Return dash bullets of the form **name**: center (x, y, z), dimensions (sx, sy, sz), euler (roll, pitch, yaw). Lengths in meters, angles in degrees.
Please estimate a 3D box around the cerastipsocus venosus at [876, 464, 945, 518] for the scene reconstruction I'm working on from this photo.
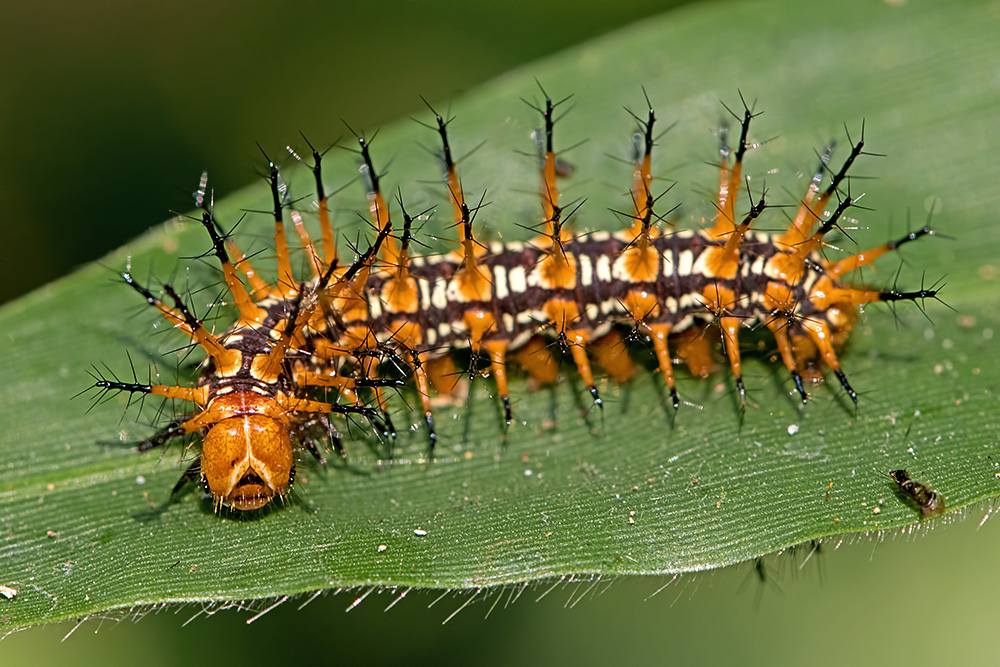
- **cerastipsocus venosus**: center (2.327, 0.897, 5.750), dimensions (0.130, 0.302, 0.174), euler (-38, -19, -56)
